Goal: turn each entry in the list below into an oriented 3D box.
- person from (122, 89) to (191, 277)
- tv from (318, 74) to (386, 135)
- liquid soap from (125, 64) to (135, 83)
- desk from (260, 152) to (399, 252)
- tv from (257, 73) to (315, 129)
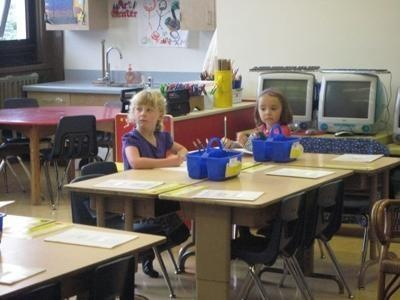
[{"bbox_3d":[-0.321,0.235,2.801,0.434,1.315,0.484,-4,4,-35],"label":"person"},{"bbox_3d":[1.475,-0.454,3.977,0.701,0.701,0.557,3,6,35],"label":"tv"},{"bbox_3d":[-1.120,-1.201,6.246,0.142,0.288,0.149,0,9,11],"label":"liquid soap"},{"bbox_3d":[1.032,0.332,2.747,0.485,0.480,0.445,4,11,33],"label":"desk"},{"bbox_3d":[0.932,-0.459,4.178,0.625,0.572,0.647,-2,-17,35],"label":"tv"}]
